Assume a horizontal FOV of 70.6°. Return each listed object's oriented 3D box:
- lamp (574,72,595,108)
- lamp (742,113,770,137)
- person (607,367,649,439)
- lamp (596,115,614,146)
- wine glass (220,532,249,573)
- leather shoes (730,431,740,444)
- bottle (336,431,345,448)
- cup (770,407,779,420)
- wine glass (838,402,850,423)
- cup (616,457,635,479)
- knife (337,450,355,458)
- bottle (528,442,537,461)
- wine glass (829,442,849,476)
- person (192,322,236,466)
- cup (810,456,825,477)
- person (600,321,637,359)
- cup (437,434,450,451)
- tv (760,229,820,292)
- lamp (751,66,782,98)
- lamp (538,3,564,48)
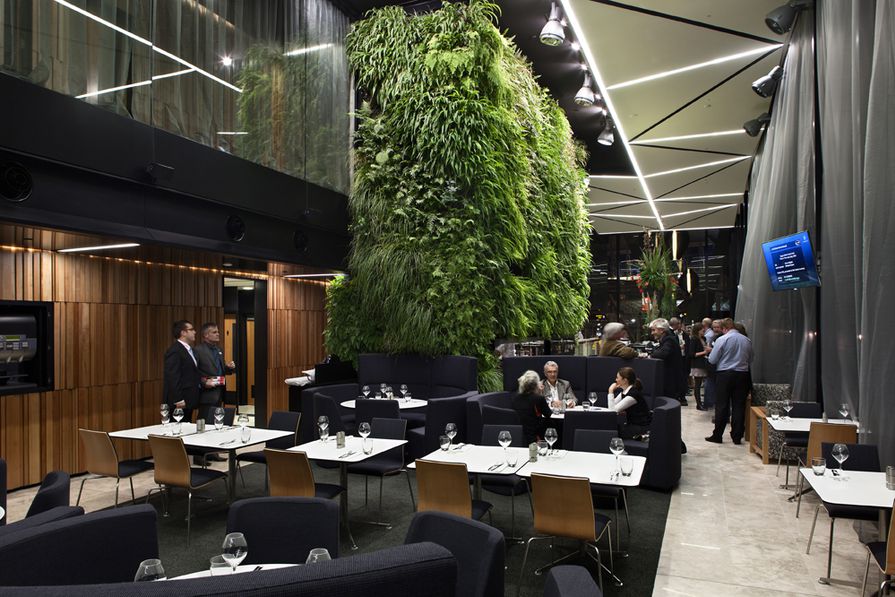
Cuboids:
[{"bbox_3d":[2.721,-4.096,12.432,0.350,0.599,1.123,2,7,13],"label":"lamp"},{"bbox_3d":[6.343,-3.587,13.008,0.457,0.457,1.015,3,7,26],"label":"lamp"},{"bbox_3d":[2.471,1.537,8.685,0.622,1.156,0.523,1,-2,-5],"label":"person"},{"bbox_3d":[3.591,-3.741,14.274,0.297,0.500,1.441,2,7,15],"label":"lamp"},{"bbox_3d":[-1.465,1.779,4.332,0.129,0.329,0.144,0,1,40],"label":"wine glass"},{"bbox_3d":[4.856,2.333,10.642,0.198,0.189,0.162,-5,-7,39],"label":"leather shoes"},{"bbox_3d":[-1.200,1.530,7.009,0.098,0.158,0.256,-1,7,-10],"label":"bottle"},{"bbox_3d":[4.326,1.516,8.368,0.101,0.122,0.131,-5,-18,29],"label":"cup"},{"bbox_3d":[4.886,1.372,7.752,0.107,0.199,0.303,4,8,31],"label":"wine glass"},{"bbox_3d":[1.740,1.627,6.182,0.132,0.166,0.141,1,-12,0],"label":"cup"},{"bbox_3d":[-1.062,1.623,6.633,0.142,0.021,0.275,1,6,8],"label":"knife"},{"bbox_3d":[0.873,1.546,6.483,0.100,0.152,0.222,1,7,6],"label":"bottle"},{"bbox_3d":[3.874,1.571,6.243,0.143,0.342,0.595,4,8,32],"label":"wine glass"},{"bbox_3d":[-3.520,1.371,9.380,0.540,1.986,0.735,7,3,12],"label":"person"},{"bbox_3d":[3.559,1.602,6.073,0.114,0.145,0.141,2,7,19],"label":"cup"},{"bbox_3d":[2.963,0.763,10.861,0.508,0.711,0.968,-5,4,0],"label":"person"},{"bbox_3d":[-0.042,1.521,6.719,0.145,0.173,0.148,0,-2,0],"label":"cup"},{"bbox_3d":[5.120,-0.555,9.430,0.091,0.787,1.049,-12,-2,-9],"label":"tv"},{"bbox_3d":[5.714,-3.889,11.277,0.423,0.544,1.034,3,7,27],"label":"lamp"},{"bbox_3d":[1.681,-4.469,10.205,0.341,0.705,0.649,1,7,9],"label":"lamp"}]
